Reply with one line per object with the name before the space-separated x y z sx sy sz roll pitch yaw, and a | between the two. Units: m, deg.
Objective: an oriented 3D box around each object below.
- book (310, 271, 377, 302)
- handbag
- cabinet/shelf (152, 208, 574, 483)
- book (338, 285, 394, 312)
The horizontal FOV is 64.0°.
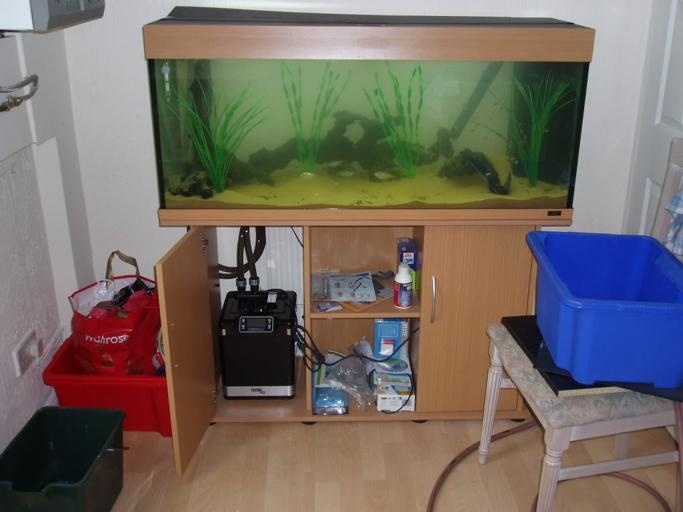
book | 0.034 0.144 2.583 0.176 0.052 0.180 3 15 10
handbag | -1.012 0.267 2.440 0.358 0.509 0.324 2 21 -12
cabinet/shelf | 0.080 0.254 2.569 1.555 1.097 0.876 -3 16 -9
book | 0.140 0.203 2.505 0.175 0.036 0.108 -16 35 -20
